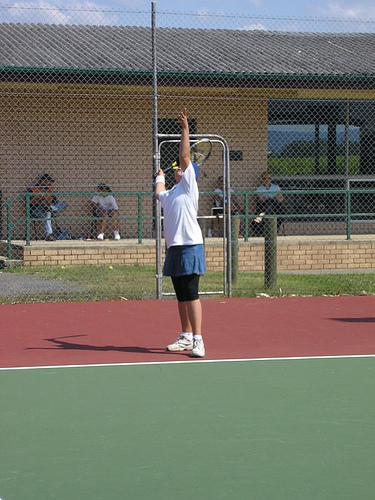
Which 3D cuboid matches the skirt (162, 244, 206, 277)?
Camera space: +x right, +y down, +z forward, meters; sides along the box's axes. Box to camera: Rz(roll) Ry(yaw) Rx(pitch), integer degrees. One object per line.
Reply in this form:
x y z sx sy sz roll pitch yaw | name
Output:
-0.045 0.082 6.143 0.351 0.250 0.200 -3 -5 23 | skirt

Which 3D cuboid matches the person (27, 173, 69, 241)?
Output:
-2.592 -0.818 14.446 0.744 1.247 1.130 -2 3 -10 | person
